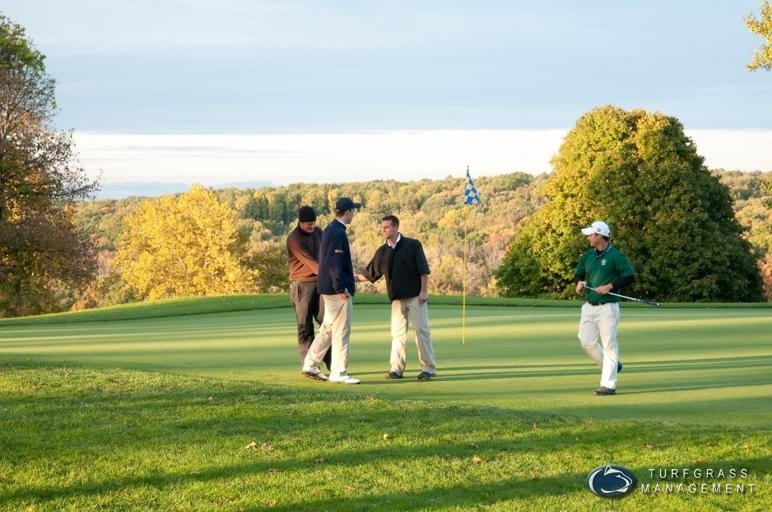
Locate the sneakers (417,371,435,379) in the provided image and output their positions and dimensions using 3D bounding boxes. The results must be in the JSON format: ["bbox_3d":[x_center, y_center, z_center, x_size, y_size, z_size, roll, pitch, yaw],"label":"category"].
[{"bbox_3d":[1.102,3.463,34.290,0.201,0.221,0.477,-4,-11,38],"label":"sneakers"}]

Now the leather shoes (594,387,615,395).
[{"bbox_3d":[6.069,3.809,33.187,0.519,0.193,0.242,4,-7,-7],"label":"leather shoes"}]

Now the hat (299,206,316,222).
[{"bbox_3d":[-2.360,-1.160,34.901,0.453,0.393,0.449,-3,7,8],"label":"hat"}]

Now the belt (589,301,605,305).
[{"bbox_3d":[5.963,1.389,33.800,0.358,0.087,0.051,-1,1,9],"label":"belt"}]

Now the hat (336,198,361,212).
[{"bbox_3d":[-1.142,-1.414,34.532,0.644,0.316,0.405,-9,16,-34],"label":"hat"}]

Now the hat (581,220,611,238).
[{"bbox_3d":[5.963,-0.760,34.022,0.790,0.442,0.531,2,0,9],"label":"hat"}]
